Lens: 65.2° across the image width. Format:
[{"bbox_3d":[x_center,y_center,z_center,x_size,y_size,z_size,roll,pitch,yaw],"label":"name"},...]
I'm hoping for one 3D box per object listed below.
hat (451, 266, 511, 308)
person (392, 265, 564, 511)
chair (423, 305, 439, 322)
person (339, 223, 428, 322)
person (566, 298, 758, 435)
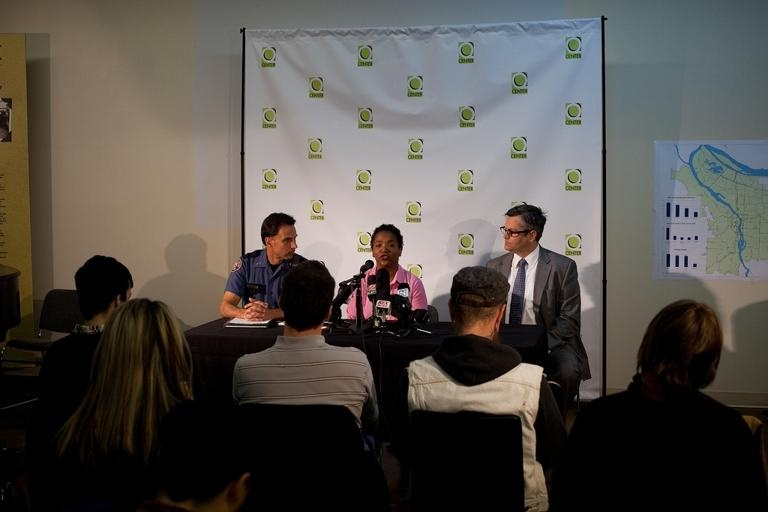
[{"bbox_3d":[0.465,0.121,2.939,0.179,0.131,0.240,4,11,8],"label":"hat"},{"bbox_3d":[0.461,0.605,2.785,0.755,0.768,0.416,5,3,15],"label":"person"},{"bbox_3d":[0.388,0.454,4.759,0.127,0.182,0.151,1,-4,-4],"label":"chair"},{"bbox_3d":[0.015,0.235,4.834,0.626,0.952,0.547,0,1,4],"label":"person"},{"bbox_3d":[1.732,0.657,3.703,0.931,0.986,0.540,12,4,23],"label":"person"}]
